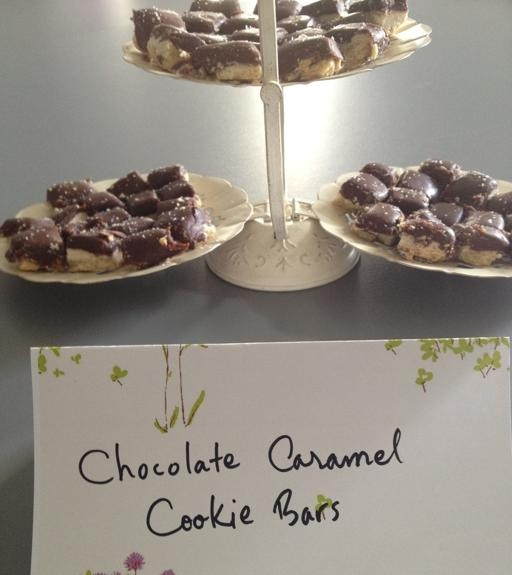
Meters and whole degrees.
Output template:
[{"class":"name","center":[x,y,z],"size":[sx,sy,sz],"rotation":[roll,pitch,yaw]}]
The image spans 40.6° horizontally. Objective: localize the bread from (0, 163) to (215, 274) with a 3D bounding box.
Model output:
[{"class":"bread","center":[-0.204,-0.102,0.952],"size":[0.283,0.076,0.311],"rotation":[-4,23,-4]}]

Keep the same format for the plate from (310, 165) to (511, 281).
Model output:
[{"class":"plate","center":[0.176,-0.059,0.842],"size":[0.212,0.024,0.180],"rotation":[6,32,5]}]
